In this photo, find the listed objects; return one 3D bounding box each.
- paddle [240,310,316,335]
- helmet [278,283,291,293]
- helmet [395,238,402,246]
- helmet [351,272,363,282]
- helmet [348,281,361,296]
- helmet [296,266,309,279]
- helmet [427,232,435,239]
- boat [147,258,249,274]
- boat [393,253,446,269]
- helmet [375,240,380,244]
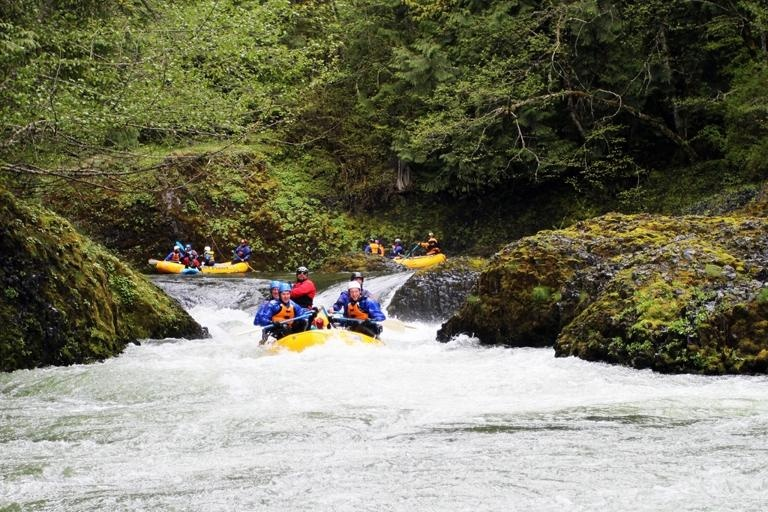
[{"bbox_3d":[-2.513,1.611,21.926,3.234,0.397,0.141,-8,41,28],"label":"paddle"},{"bbox_3d":[-2.387,0.731,21.729,0.242,0.244,0.405,-6,8,-13],"label":"helmet"},{"bbox_3d":[0.526,-0.584,37.669,0.266,0.252,0.205,12,35,22],"label":"helmet"},{"bbox_3d":[-0.634,0.516,22.172,0.248,0.268,0.297,1,-4,-16],"label":"helmet"},{"bbox_3d":[-0.725,0.787,21.880,0.282,0.291,0.339,-2,4,1],"label":"helmet"},{"bbox_3d":[-2.072,0.434,22.686,0.289,0.326,0.330,3,8,-1],"label":"helmet"},{"bbox_3d":[1.806,-0.800,36.171,0.271,0.304,0.315,4,2,32],"label":"helmet"},{"bbox_3d":[-7.001,0.504,35.400,2.800,0.463,1.287,2,-3,-30],"label":"boat"},{"bbox_3d":[1.246,0.214,34.869,1.934,0.394,1.657,-1,8,19],"label":"boat"},{"bbox_3d":[-0.311,-0.581,38.847,0.203,0.084,0.150,2,-3,-30],"label":"helmet"}]
